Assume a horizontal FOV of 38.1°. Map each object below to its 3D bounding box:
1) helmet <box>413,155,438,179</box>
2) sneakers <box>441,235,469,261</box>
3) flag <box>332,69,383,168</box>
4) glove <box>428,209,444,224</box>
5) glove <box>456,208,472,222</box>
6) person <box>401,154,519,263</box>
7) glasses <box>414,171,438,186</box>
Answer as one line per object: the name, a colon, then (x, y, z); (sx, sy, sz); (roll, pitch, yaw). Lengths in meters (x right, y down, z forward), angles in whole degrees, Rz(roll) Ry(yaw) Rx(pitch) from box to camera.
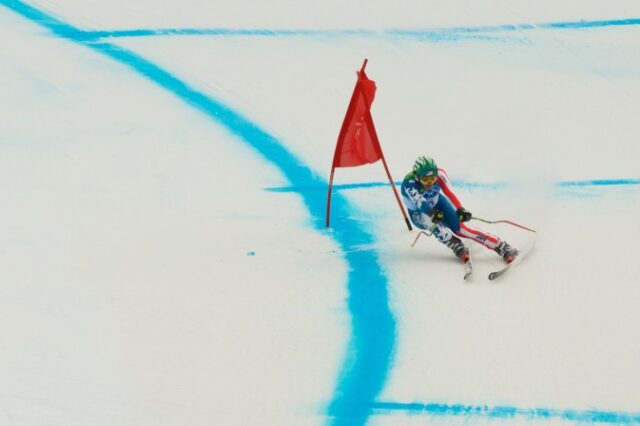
helmet: (1.713, -0.754, 15.290); (0.378, 0.378, 0.327); (7, 14, 38)
sneakers: (2.261, 0.599, 15.319); (0.279, 0.451, 0.203); (-43, -14, 11)
flag: (0.622, -1.597, 15.845); (0.878, 1.713, 0.583); (-1, 11, 2)
glove: (1.925, 0.074, 15.329); (0.238, 0.239, 0.177); (-7, 6, -27)
glove: (2.380, 0.039, 15.312); (0.246, 0.185, 0.219); (0, 50, -39)
person: (2.213, -0.023, 15.283); (0.995, 1.273, 2.327); (-15, 27, -23)
glasses: (1.768, -0.536, 15.268); (0.235, 0.162, 0.268); (1, 19, -9)
